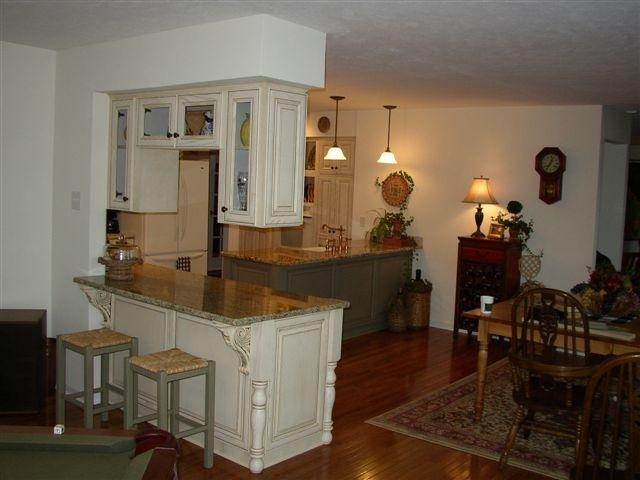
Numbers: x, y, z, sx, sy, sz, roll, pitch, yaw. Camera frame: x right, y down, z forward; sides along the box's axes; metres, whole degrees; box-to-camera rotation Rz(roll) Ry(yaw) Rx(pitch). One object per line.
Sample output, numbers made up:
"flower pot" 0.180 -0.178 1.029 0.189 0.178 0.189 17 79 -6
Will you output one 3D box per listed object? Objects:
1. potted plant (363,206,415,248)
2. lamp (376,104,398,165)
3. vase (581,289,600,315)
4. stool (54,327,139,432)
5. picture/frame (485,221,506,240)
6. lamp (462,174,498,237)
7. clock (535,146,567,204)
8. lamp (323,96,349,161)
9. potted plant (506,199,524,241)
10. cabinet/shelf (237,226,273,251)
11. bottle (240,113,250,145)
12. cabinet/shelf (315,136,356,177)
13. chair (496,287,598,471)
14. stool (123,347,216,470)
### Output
"potted plant" 1.041 -0.212 7.818 0.581 0.428 0.600 -5 9 -35
"lamp" 1.010 -1.562 7.677 0.297 0.843 0.730 3 8 6
"vase" 2.492 0.559 4.783 0.191 0.349 0.191 0 3 29
"stool" -1.802 1.133 4.192 0.587 0.693 0.585 3 1 -14
"picture/frame" 2.348 -0.130 6.934 0.199 0.208 0.318 5 8 18
"lamp" 2.178 -0.476 7.091 0.443 0.843 0.493 5 8 18
"clock" 2.965 -0.840 6.731 0.374 0.736 0.130 6 9 25
"lamp" 0.247 -1.568 7.232 0.371 0.859 0.370 -12 14 -19
"potted plant" 2.572 -0.278 6.912 0.196 0.507 0.301 5 8 20
"cabinet/shelf" -1.161 -0.039 9.290 0.433 0.414 0.226 2 2 40
"bottle" -0.552 -0.816 3.810 0.031 0.246 0.109 -3 10 -36
"cabinet/shelf" 0.212 -1.373 8.687 0.709 0.605 0.265 -3 12 -20
"chair" 1.832 1.080 4.091 0.689 1.393 0.662 3 6 31
"stool" -1.098 1.243 3.763 0.591 0.734 0.585 5 -2 -8
